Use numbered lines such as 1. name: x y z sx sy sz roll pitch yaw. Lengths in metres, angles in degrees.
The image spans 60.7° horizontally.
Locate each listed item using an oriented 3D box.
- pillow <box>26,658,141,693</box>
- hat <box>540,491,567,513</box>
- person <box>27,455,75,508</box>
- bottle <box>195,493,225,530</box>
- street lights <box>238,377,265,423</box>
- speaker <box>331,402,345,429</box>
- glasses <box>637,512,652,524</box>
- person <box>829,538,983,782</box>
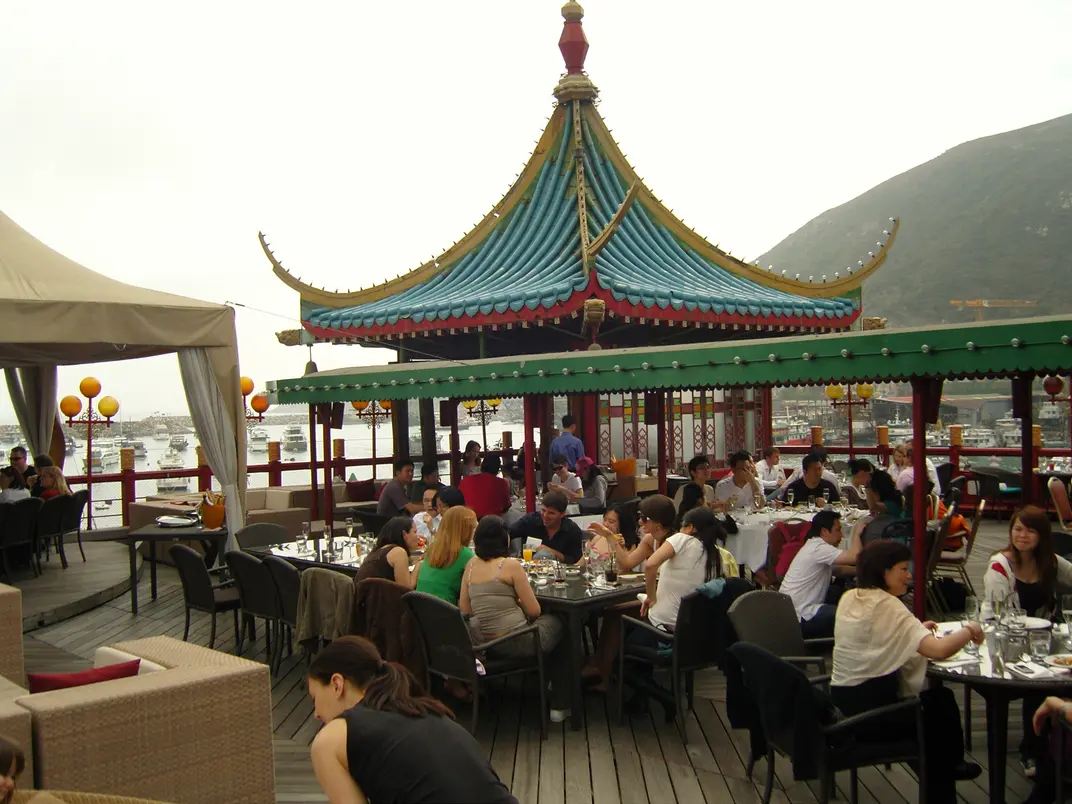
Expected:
1. pillow: -2.646 1.570 5.343 0.395 0.144 0.399 4 -4 -30
2. hat: 0.177 0.943 8.713 0.162 0.200 0.228 13 -14 18
3. person: -7.371 1.244 13.928 0.541 0.998 1.046 6 -14 -27
4. bottle: -4.072 1.361 11.587 0.347 0.484 0.476 -3 -11 19
5. street lights: -4.804 -0.034 15.377 0.316 0.872 0.302 -6 -4 -7
6. speaker: -3.218 0.212 14.871 0.191 0.376 0.276 -2 -1 -5
7. glasses: 0.947 1.014 7.943 0.151 0.086 0.228 -2 -7 11
8. person: 2.366 1.662 5.835 0.859 1.444 0.651 -2 -1 -22
